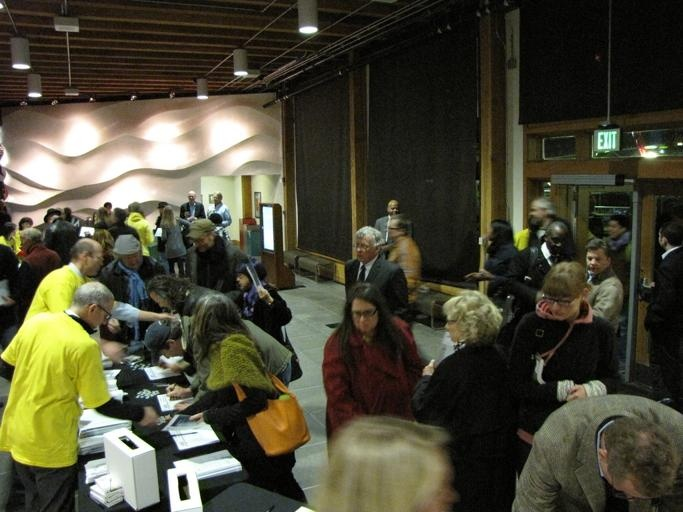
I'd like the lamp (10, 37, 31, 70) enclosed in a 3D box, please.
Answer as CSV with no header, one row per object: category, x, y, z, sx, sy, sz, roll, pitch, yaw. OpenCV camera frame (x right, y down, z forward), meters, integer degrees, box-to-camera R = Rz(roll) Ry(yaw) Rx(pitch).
lamp,-4.043,-2.613,6.781,0.188,0.369,0.321,-5,7,-32

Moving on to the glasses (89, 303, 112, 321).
glasses,-1.383,0.321,3.082,0.039,0.127,0.126,-34,-6,-7

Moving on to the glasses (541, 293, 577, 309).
glasses,1.122,0.228,2.829,0.099,0.069,0.199,-6,7,-34

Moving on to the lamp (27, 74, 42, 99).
lamp,-4.957,-2.838,8.696,0.182,0.349,0.307,-5,7,-33

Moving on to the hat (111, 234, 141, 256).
hat,-2.004,-0.099,5.062,0.218,0.198,0.233,-4,6,-20

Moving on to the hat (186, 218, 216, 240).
hat,-1.311,-0.259,5.103,0.165,0.121,0.238,1,9,23

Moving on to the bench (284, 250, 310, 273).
bench,-1.070,0.060,12.890,0.472,0.314,0.665,-2,9,-28

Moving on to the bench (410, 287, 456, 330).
bench,1.325,0.774,7.926,0.628,0.408,0.836,-7,13,-22

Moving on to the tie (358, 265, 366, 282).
tie,0.203,0.167,4.888,0.046,0.175,0.039,-12,-44,34

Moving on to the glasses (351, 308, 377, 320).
glasses,0.141,0.332,3.055,0.138,0.055,0.042,-1,6,0

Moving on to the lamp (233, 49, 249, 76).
lamp,-1.568,-3.116,8.402,0.171,0.404,0.216,-2,6,1
